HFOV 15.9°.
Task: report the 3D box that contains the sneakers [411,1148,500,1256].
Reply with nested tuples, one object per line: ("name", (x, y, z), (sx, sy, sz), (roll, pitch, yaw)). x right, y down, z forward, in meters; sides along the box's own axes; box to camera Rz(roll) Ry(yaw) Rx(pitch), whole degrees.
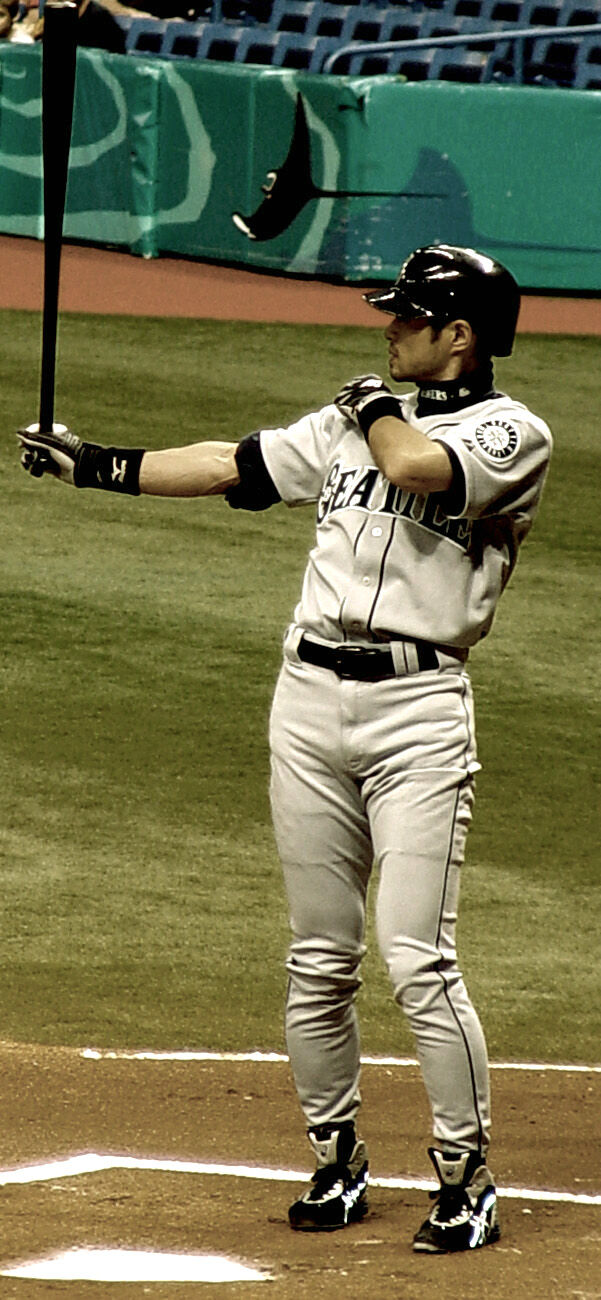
("sneakers", (0.317, 1.082, 4.194), (0.091, 0.204, 0.268), (-5, -3, 33))

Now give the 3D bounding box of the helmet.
("helmet", (0.298, -0.706, 4.384), (0.271, 0.176, 0.201), (19, 14, -5))

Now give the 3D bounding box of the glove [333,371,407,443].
("glove", (0.149, -0.483, 4.323), (0.097, 0.072, 0.163), (-26, 6, -1))

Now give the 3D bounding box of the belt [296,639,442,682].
("belt", (0.129, 0.015, 4.271), (0.294, 0.089, 0.057), (9, 11, 19))

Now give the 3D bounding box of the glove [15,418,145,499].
("glove", (-0.481, -0.396, 4.668), (0.341, 0.165, 0.125), (8, 27, 4))

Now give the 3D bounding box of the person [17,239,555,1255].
("person", (0.123, 0.159, 4.424), (0.513, 1.973, 0.978), (-5, 14, -43))
